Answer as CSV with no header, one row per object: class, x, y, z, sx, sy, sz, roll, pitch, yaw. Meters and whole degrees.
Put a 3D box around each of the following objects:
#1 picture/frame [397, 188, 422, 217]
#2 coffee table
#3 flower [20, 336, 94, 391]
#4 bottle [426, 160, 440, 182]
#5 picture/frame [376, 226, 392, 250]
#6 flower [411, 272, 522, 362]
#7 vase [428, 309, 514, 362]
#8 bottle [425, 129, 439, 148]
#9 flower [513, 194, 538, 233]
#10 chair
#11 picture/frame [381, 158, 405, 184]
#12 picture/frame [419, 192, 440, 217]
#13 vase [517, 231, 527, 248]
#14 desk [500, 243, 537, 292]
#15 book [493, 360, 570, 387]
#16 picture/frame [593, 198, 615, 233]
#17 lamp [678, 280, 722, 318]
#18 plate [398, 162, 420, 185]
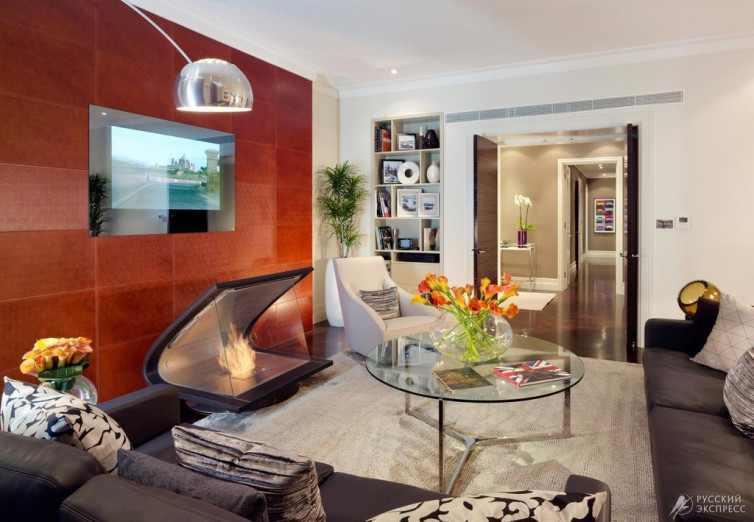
picture/frame,0.445,-0.787,6.482,0.386,0.456,0.046,2,6,23
coffee table,0.690,1.024,3.446,1.634,0.635,1.609,-2,5,-10
flower,-1.789,0.616,2.671,0.321,0.334,0.336,-7,-6,-20
bottle,0.752,-1.190,6.384,0.163,0.276,0.192,1,9,10
picture/frame,0.104,-0.314,6.610,0.297,0.291,0.068,0,-2,-43
flower,0.689,0.362,3.377,0.636,0.497,0.657,1,5,31
vase,0.669,0.553,3.394,0.456,0.252,0.456,7,-6,-12
bottle,0.723,-1.625,6.339,0.193,0.248,0.171,-1,9,-1
flower,2.894,-0.944,9.348,0.408,0.686,0.363,2,10,16
chair,0.070,0.506,4.927,1.014,1.061,0.924,1,5,32
picture/frame,0.219,-1.234,6.569,0.365,0.404,0.056,3,6,16
picture/frame,0.708,-0.752,6.365,0.320,0.376,0.051,2,6,21
vase,2.853,-0.455,9.321,0.179,0.292,0.318,2,10,18
desk,2.552,0.092,8.444,0.907,0.908,0.318,1,2,29
book,0.989,0.718,3.083,0.471,0.021,0.341,-3,10,-16
picture/frame,6.821,-1.352,14.308,0.564,1.069,0.467,3,10,21
lamp,2.833,0.331,4.161,0.247,0.266,0.257,25,-6,47
plate,0.428,-1.194,6.465,0.300,0.298,0.115,-1,9,1
